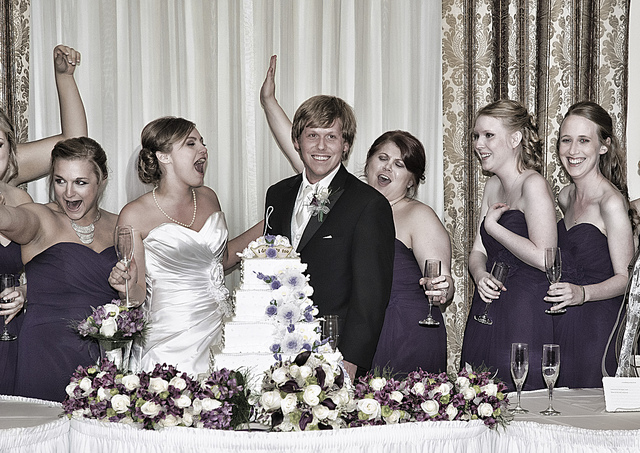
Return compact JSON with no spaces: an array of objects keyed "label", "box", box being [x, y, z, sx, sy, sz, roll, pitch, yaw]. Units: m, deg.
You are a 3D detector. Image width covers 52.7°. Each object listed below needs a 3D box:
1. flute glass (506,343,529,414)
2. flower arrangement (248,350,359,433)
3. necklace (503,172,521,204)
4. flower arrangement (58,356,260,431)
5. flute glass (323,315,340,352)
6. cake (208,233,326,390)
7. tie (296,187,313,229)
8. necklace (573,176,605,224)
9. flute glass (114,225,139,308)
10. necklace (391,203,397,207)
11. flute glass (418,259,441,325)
[{"label":"flute glass","box":[1.090,0.829,3.564,0.101,0.380,0.122,-2,4,18]},{"label":"flower arrangement","box":[-0.089,0.828,3.275,0.560,0.396,0.247,0,-4,-1]},{"label":"necklace","box":[1.438,-0.298,4.837,0.018,0.256,0.027,-4,26,-41]},{"label":"flower arrangement","box":[-0.827,0.860,3.302,0.960,0.327,0.239,-1,-4,4]},{"label":"flute glass","box":[0.058,0.573,3.476,0.100,0.187,0.099,2,-4,-22]},{"label":"cake","box":[-0.292,0.316,3.685,0.705,0.654,1.047,3,-45,-7]},{"label":"tie","box":[-0.115,-0.150,4.399,0.075,0.326,0.085,6,-9,16]},{"label":"necklace","box":[2.014,-0.191,4.851,0.218,0.347,0.262,-2,-5,25]},{"label":"flute glass","box":[-1.156,0.216,3.833,0.165,0.519,0.186,5,11,23]},{"label":"necklace","box":[0.563,-0.174,4.987,0.055,0.010,0.012,-35,-37,-7]},{"label":"flute glass","box":[0.741,0.447,4.356,0.137,0.467,0.148,1,7,9]}]
